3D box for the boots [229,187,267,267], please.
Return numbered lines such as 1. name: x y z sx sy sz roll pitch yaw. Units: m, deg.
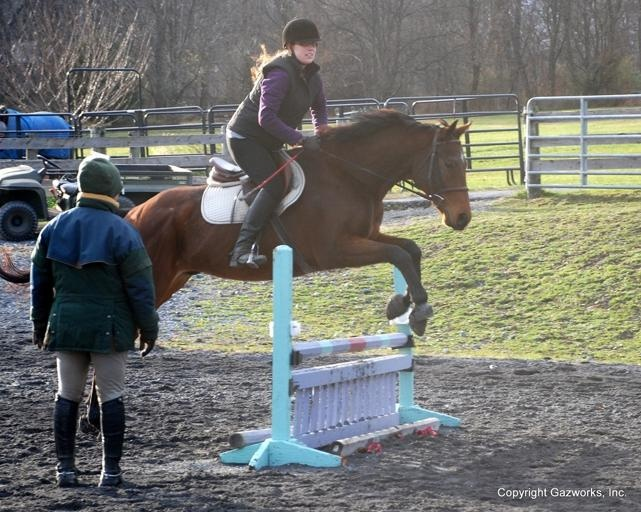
1. boots: -1.062 -0.411 17.306 0.687 1.076 0.296 6 -1 -25
